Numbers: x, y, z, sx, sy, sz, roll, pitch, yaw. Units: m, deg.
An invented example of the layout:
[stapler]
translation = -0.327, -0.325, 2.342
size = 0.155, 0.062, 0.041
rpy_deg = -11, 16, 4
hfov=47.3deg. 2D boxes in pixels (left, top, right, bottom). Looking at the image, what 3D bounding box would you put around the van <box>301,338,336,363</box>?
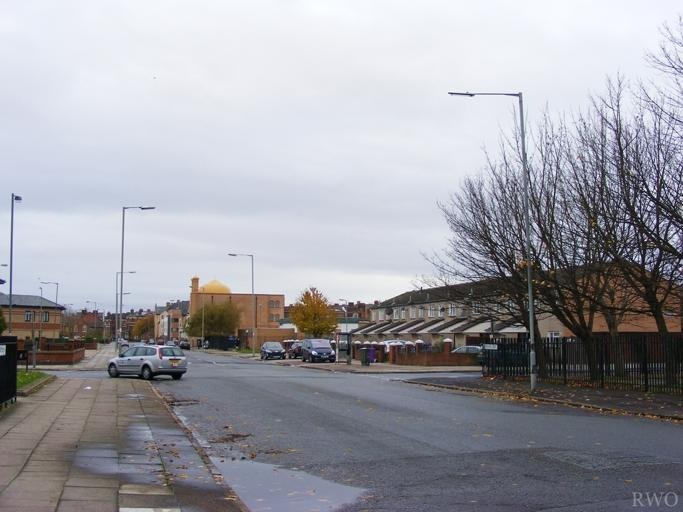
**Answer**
[van]
translation = -1.676, 7.157, 58.547
size = 2.049, 1.724, 2.684
rpy_deg = 1, -3, -12
